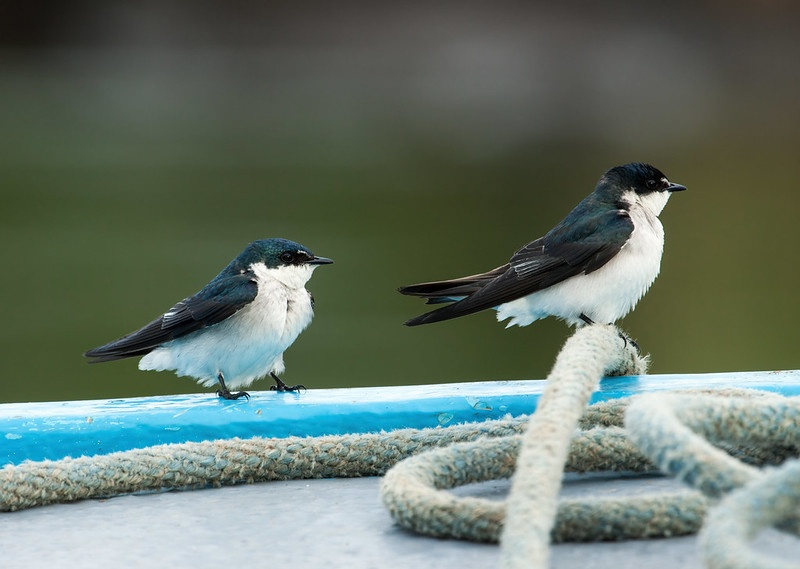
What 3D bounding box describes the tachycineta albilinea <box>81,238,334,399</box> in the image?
[{"bbox_3d":[-0.389,0.076,2.009,0.546,0.289,0.254,-6,-8,19],"label":"tachycineta albilinea"}]
